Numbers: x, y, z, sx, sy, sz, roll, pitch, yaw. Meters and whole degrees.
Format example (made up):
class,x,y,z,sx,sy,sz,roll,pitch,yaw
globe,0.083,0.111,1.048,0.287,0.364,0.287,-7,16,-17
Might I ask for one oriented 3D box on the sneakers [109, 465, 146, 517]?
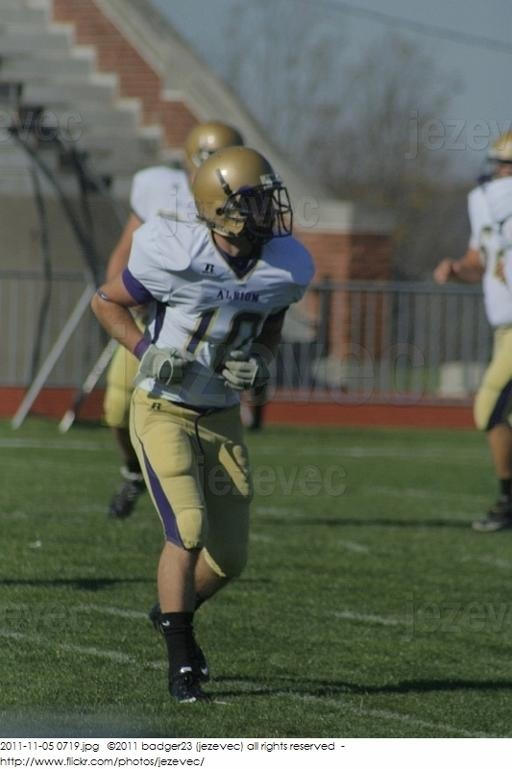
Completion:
class,x,y,z,sx,sy,sz,roll,pitch,yaw
sneakers,-0.422,0.354,4.475,0.074,0.097,0.208,38,37,-14

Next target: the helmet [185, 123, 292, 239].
class,x,y,z,sx,sy,sz,roll,pitch,yaw
helmet,-0.063,-0.536,3.683,0.229,0.242,0.312,-42,45,-17

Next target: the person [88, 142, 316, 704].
class,x,y,z,sx,sy,sz,roll,pitch,yaw
person,-0.113,0.068,3.583,0.542,1.379,0.673,3,12,-17

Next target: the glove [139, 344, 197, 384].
class,x,y,z,sx,sy,sz,roll,pitch,yaw
glove,-0.234,-0.053,3.553,0.133,0.085,0.051,4,-7,-3

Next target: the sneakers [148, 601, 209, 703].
class,x,y,z,sx,sy,sz,roll,pitch,yaw
sneakers,-0.197,0.688,3.459,0.096,0.257,0.120,-8,-25,-29
